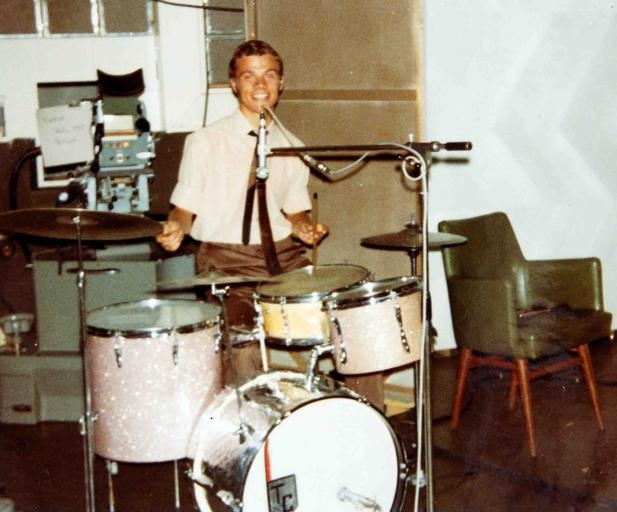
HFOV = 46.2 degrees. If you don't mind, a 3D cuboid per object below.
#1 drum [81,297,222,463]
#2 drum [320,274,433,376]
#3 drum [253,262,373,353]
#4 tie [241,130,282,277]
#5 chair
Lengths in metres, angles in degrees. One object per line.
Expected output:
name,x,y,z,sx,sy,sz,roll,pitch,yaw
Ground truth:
drum,-0.612,0.458,2.954,0.566,0.544,0.575,-1,0,-8
drum,0.254,0.249,2.809,0.361,0.274,0.355,-8,-4,0
drum,0.001,0.192,2.868,0.357,0.148,0.354,-16,11,3
tie,-0.207,-0.257,3.369,0.177,0.689,0.232,0,-3,-26
chair,1.073,0.346,3.538,0.823,1.161,0.504,-2,-3,10
